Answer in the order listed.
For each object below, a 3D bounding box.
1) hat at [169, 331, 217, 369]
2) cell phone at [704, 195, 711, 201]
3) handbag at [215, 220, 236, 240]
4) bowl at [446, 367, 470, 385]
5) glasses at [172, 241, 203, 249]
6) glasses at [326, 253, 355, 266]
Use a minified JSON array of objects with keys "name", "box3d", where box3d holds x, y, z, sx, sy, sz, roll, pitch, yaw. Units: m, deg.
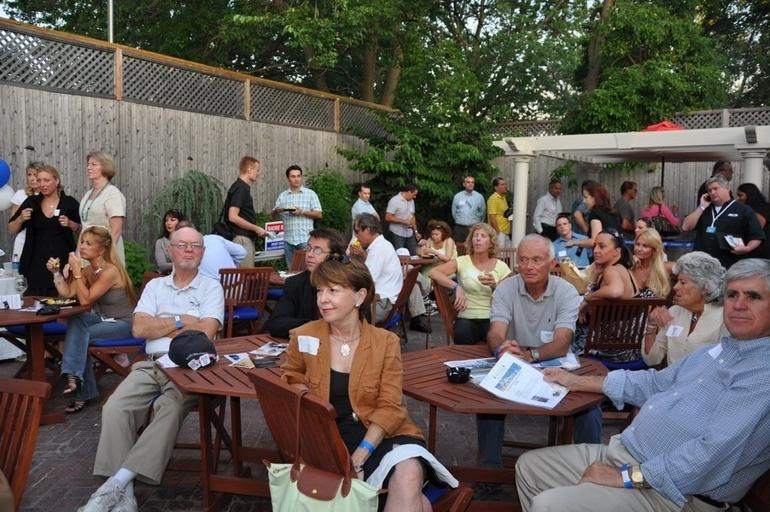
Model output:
[{"name":"hat","box3d":[-1.377,0.661,4.350,0.292,0.234,0.206,6,6,16]},{"name":"cell phone","box3d":[3.880,-0.698,7.373,0.043,0.050,0.062,25,34,-16]},{"name":"handbag","box3d":[-2.237,-0.386,8.489,0.232,0.105,0.294,23,4,-42]},{"name":"bowl","box3d":[0.501,0.812,4.200,0.161,0.091,0.097,4,6,1]},{"name":"glasses","box3d":[-1.683,-0.093,5.160,0.257,0.074,0.125,2,6,-18]},{"name":"glasses","box3d":[-0.304,0.019,4.011,0.183,0.057,0.078,4,6,-3]}]
